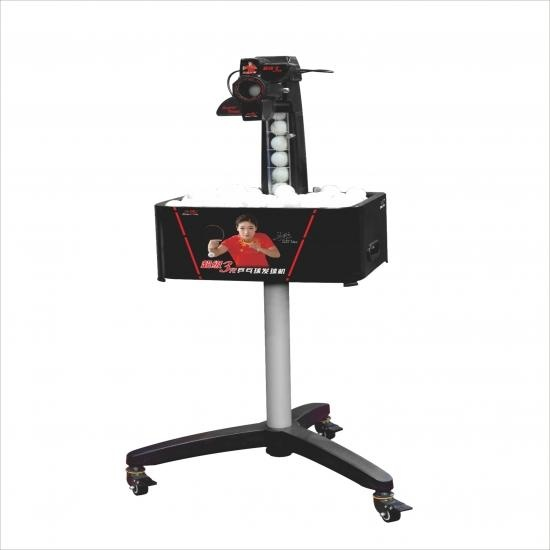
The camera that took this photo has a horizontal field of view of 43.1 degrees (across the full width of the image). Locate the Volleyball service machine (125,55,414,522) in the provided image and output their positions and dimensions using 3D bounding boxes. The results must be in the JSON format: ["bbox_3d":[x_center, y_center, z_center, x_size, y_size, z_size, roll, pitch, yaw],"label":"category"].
[{"bbox_3d":[0.018,-0.050,2.641,1.173,0.899,1.306,2,-75,15],"label":"Volleyball service machine"}]
